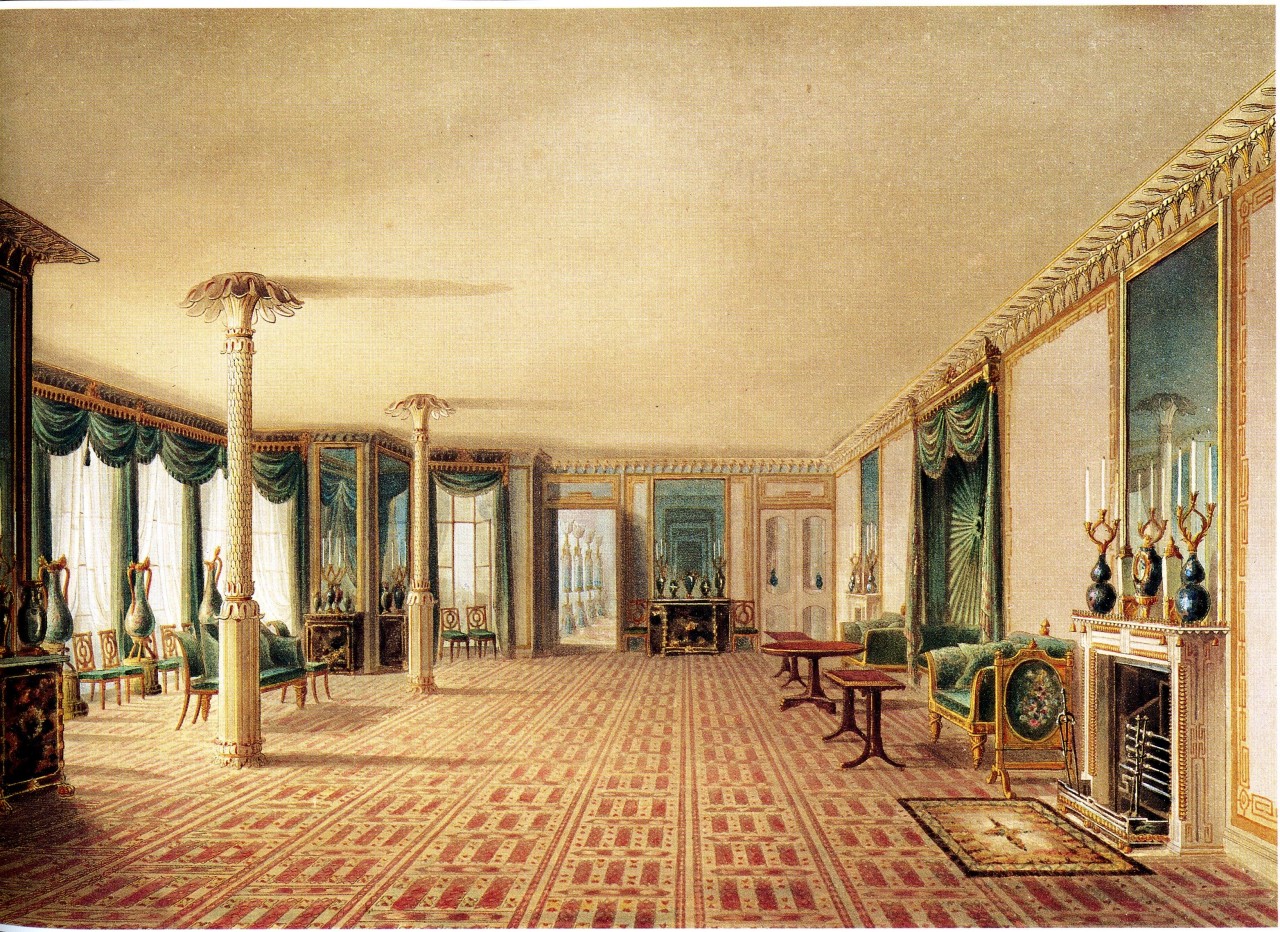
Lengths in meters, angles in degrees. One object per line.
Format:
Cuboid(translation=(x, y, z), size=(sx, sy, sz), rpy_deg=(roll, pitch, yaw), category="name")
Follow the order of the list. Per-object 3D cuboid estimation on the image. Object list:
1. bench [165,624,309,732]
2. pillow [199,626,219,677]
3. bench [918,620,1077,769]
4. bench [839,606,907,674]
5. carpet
Cuboid(translation=(-4.080, 2.093, 11.266), size=(1.160, 0.994, 1.999), rpy_deg=(0, -8, -4), category="bench")
Cuboid(translation=(-4.259, 1.815, 11.085), size=(0.152, 0.488, 0.274), rpy_deg=(3, -7, -28), category="pillow")
Cuboid(translation=(3.063, 1.982, 9.744), size=(0.867, 1.032, 1.511), rpy_deg=(0, -4, 0), category="bench")
Cuboid(translation=(2.931, 2.299, 14.028), size=(0.653, 0.839, 1.178), rpy_deg=(1, -9, -2), category="bench")
Cuboid(translation=(2.586, 2.553, 7.694), size=(1.279, 0.247, 1.108), rpy_deg=(0, -8, -1), category="carpet")
